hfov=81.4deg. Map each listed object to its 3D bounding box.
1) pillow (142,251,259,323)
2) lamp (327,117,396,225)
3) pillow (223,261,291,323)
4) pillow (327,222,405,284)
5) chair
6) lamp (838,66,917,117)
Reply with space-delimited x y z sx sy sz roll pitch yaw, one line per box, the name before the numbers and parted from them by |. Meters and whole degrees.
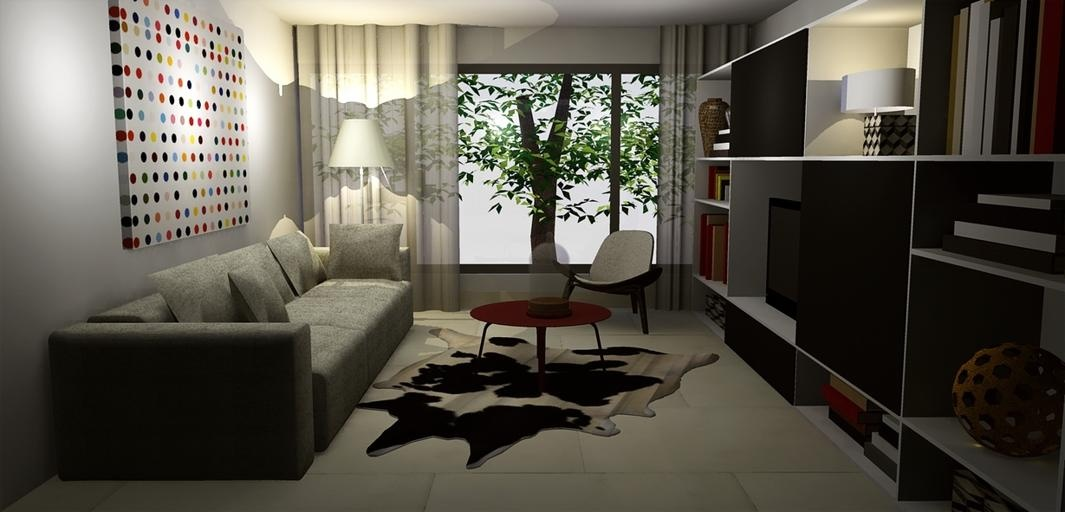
pillow | -2.667 0.175 4.973 0.193 0.567 0.702 -43 -19 32
lamp | -2.079 -0.980 7.325 0.689 1.242 0.581 -5 15 -11
pillow | -2.462 0.318 5.354 0.278 0.459 0.540 -46 -6 14
pillow | -1.901 -0.049 6.838 0.965 0.568 0.322 1 14 20
chair | 0.905 0.223 7.099 1.278 0.869 0.895 3 11 28
lamp | 2.686 -1.232 4.770 0.516 0.260 0.270 1 2 25
